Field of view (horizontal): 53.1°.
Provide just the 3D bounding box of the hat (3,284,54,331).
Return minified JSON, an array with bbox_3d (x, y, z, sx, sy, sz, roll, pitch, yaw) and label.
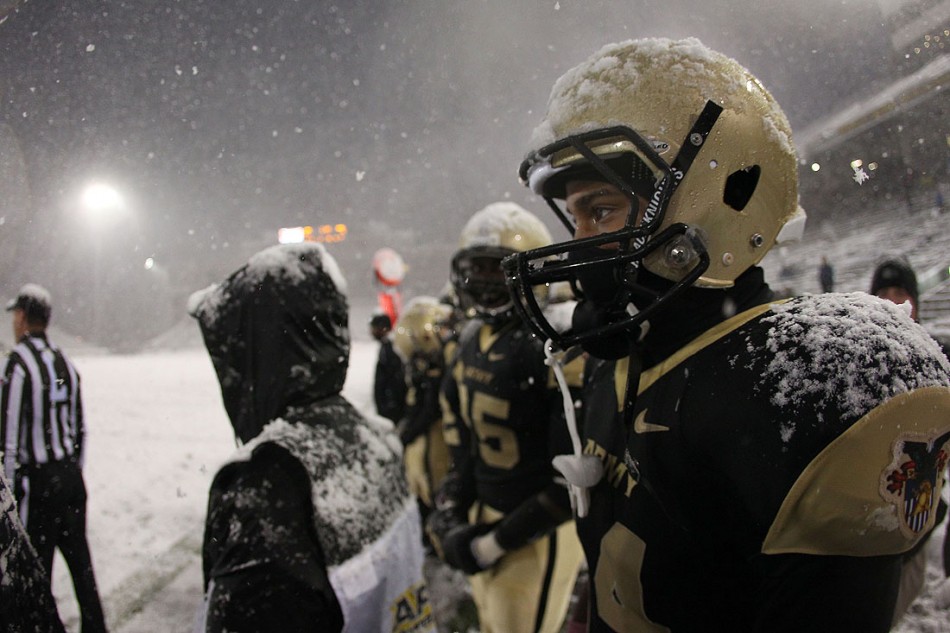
[{"bbox_3d":[-2.015,-0.059,4.336,0.254,0.143,0.162,27,25,16],"label":"hat"}]
